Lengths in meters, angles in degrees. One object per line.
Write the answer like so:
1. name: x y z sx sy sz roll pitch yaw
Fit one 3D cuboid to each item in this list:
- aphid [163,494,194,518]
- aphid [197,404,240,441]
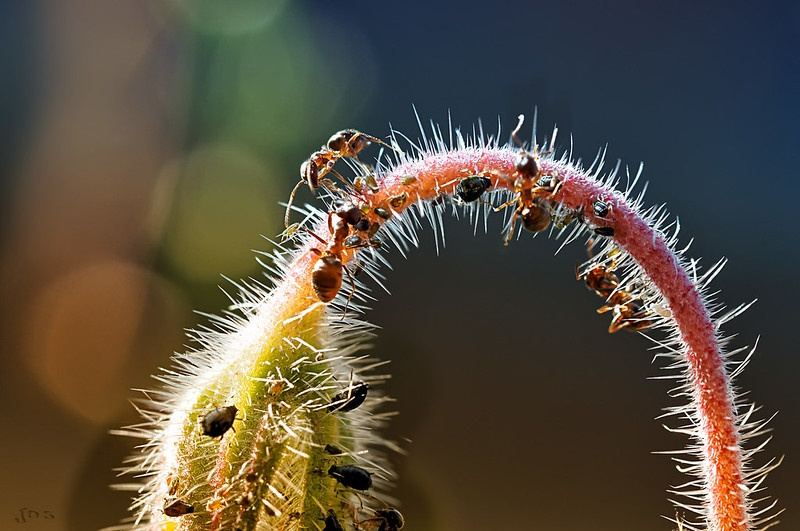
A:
1. aphid: -1.231 1.337 4.443 0.157 0.059 0.100 9 107 -2
2. aphid: -1.009 0.863 4.417 0.247 0.100 0.143 -37 71 -8
